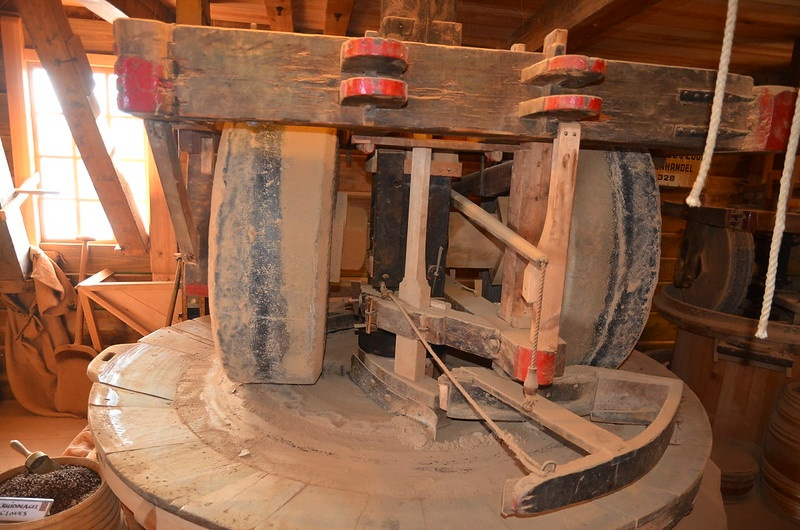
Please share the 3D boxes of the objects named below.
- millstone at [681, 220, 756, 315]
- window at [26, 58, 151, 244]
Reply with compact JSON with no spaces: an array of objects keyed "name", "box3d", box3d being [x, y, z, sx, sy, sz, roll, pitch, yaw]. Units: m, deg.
[{"name":"millstone","box3d":[3.172,0.016,6.228,0.414,0.891,0.689,-3,13,-18]},{"name":"window","box3d":[-3.590,-1.137,7.190,1.705,2.265,0.593,4,11,-6]}]
